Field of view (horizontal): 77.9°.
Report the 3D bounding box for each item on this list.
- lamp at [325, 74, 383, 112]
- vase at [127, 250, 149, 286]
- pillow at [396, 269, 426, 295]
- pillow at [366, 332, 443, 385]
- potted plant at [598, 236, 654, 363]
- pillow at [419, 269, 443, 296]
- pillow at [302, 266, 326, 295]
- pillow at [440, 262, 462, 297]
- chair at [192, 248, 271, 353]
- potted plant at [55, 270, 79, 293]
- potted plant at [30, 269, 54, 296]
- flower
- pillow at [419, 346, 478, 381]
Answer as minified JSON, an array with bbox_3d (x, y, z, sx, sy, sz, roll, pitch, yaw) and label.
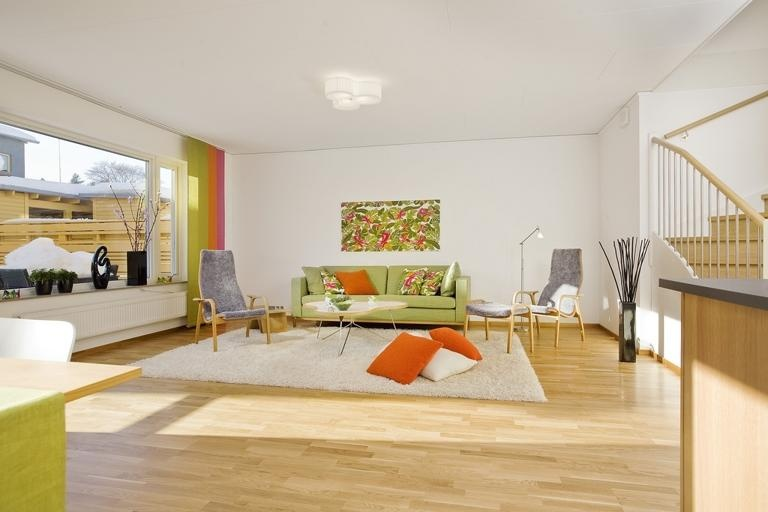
[{"bbox_3d":[-0.353,-1.868,5.457,0.606,0.167,0.638,0,0,11],"label":"lamp"},{"bbox_3d":[-3.305,0.168,6.368,0.253,0.458,0.163,-6,12,-27],"label":"vase"},{"bbox_3d":[0.391,0.381,7.033,0.375,0.368,0.113,3,-27,45],"label":"pillow"},{"bbox_3d":[0.177,1.004,4.723,0.568,0.358,0.472,10,14,43],"label":"pillow"},{"bbox_3d":[2.865,0.431,5.779,0.495,1.378,1.553,4,12,24],"label":"potted plant"},{"bbox_3d":[0.681,0.402,6.955,0.346,0.319,0.104,5,-24,41],"label":"pillow"},{"bbox_3d":[-1.086,0.404,7.310,0.182,0.274,0.335,-1,30,28],"label":"pillow"},{"bbox_3d":[0.923,0.343,6.831,0.264,0.448,0.372,1,11,7],"label":"pillow"},{"bbox_3d":[-1.995,0.554,6.251,0.832,1.163,0.870,0,2,-43],"label":"chair"},{"bbox_3d":[-3.652,0.294,5.481,0.230,0.257,0.264,-1,0,13],"label":"potted plant"},{"bbox_3d":[-3.777,0.297,5.303,0.222,0.278,0.168,-10,14,-42],"label":"potted plant"},{"bbox_3d":[-3.631,-0.533,6.755,0.731,0.821,0.753,2,3,25],"label":"flower"},{"bbox_3d":[0.611,1.089,4.713,0.343,0.100,0.325,3,9,44],"label":"pillow"}]
